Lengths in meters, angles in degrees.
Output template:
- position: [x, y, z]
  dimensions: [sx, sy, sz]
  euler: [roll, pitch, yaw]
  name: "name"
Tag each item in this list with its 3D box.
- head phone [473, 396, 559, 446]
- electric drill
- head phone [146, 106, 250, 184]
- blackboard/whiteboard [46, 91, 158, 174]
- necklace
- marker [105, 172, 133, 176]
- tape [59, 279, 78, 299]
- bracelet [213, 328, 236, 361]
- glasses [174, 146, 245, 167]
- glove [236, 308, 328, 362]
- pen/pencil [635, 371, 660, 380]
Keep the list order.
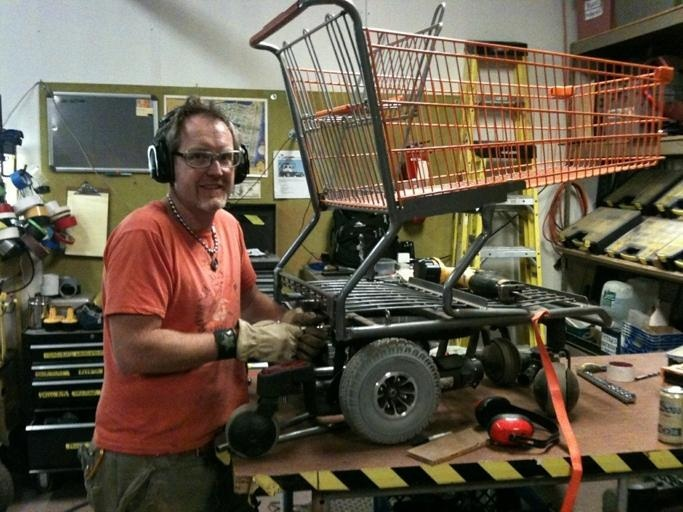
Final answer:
- position: [0.614, 0.575, 2.071]
  dimensions: [0.255, 0.115, 0.282]
  euler: [2, 11, -11]
  name: "head phone"
- position: [0.534, 0.104, 2.493]
  dimensions: [0.220, 0.098, 0.544]
  euler: [1, 10, -32]
  name: "electric drill"
- position: [-0.521, -0.406, 2.161]
  dimensions: [0.332, 0.282, 0.121]
  euler: [-1, 16, -33]
  name: "head phone"
- position: [-1.690, -0.853, 4.092]
  dimensions: [0.871, 0.620, 0.037]
  euler: [-1, 6, -11]
  name: "blackboard/whiteboard"
- position: [-0.498, -0.111, 2.142]
  dimensions: [0.030, 0.271, 0.203]
  euler: [-43, 23, -23]
  name: "necklace"
- position: [-1.588, -0.579, 4.231]
  dimensions: [0.129, 0.025, 0.026]
  euler: [-2, 22, -9]
  name: "marker"
- position: [-1.813, 0.212, 3.946]
  dimensions: [0.113, 0.108, 0.107]
  euler: [7, 10, 18]
  name: "tape"
- position: [-0.384, 0.291, 1.970]
  dimensions: [0.075, 0.093, 0.064]
  euler: [-4, 8, -26]
  name: "bracelet"
- position: [-0.434, -0.347, 2.098]
  dimensions: [0.275, 0.073, 0.105]
  euler: [-7, 9, -39]
  name: "glasses"
- position: [-0.220, 0.282, 2.009]
  dimensions: [0.202, 0.084, 0.197]
  euler: [-4, 12, -28]
  name: "glove"
- position: [1.288, 0.507, 2.514]
  dimensions: [0.097, 0.010, 0.011]
  euler: [-10, 53, -18]
  name: "pen/pencil"
